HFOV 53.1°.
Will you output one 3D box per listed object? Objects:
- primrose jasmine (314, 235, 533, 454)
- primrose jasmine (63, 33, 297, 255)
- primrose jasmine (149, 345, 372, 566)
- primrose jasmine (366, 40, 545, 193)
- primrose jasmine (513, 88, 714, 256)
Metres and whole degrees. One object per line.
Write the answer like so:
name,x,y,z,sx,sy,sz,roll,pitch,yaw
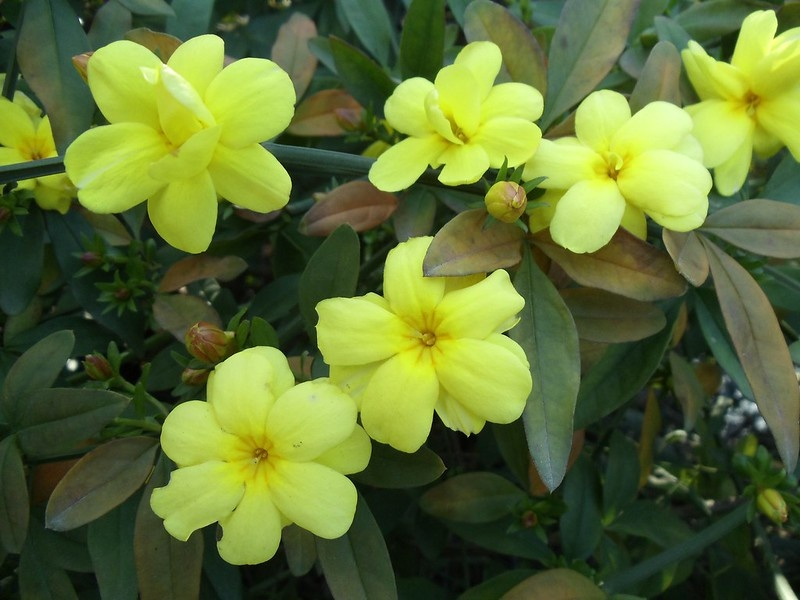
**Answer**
primrose jasmine,0.030,0.065,1.258,0.328,0.206,0.262,5,47,-8
primrose jasmine,-0.344,-0.248,1.262,0.342,0.236,0.248,4,47,-9
primrose jasmine,-0.224,0.253,1.274,0.319,0.198,0.250,10,47,-3
primrose jasmine,0.085,-0.268,1.284,0.273,0.216,0.214,-18,54,-26
primrose jasmine,0.354,-0.199,1.285,0.318,0.195,0.240,-3,49,-15
